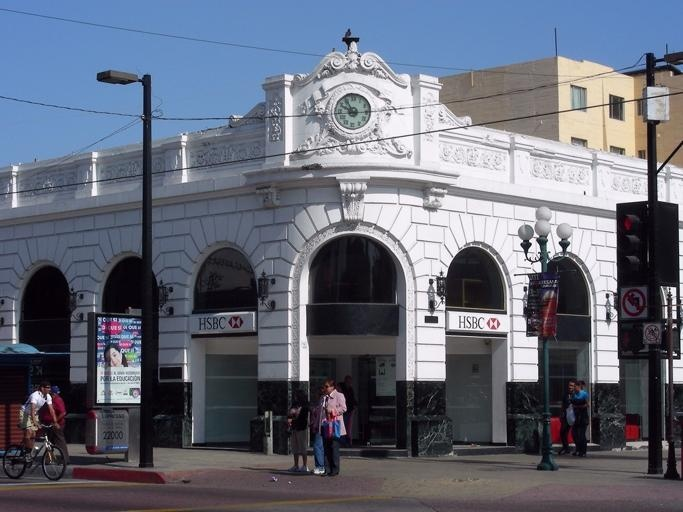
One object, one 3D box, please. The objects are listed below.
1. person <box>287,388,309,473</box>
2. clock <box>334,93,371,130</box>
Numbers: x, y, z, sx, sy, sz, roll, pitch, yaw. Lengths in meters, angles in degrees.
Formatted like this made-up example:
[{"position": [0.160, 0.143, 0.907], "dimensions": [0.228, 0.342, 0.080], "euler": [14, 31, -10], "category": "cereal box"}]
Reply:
[{"position": [-1.201, 4.938, 37.927], "dimensions": [0.666, 2.172, 0.567], "euler": [-2, -5, -12], "category": "person"}, {"position": [0.379, -4.497, 43.465], "dimensions": [1.130, 1.184, 0.159], "euler": [-1, -14, 0], "category": "clock"}]
